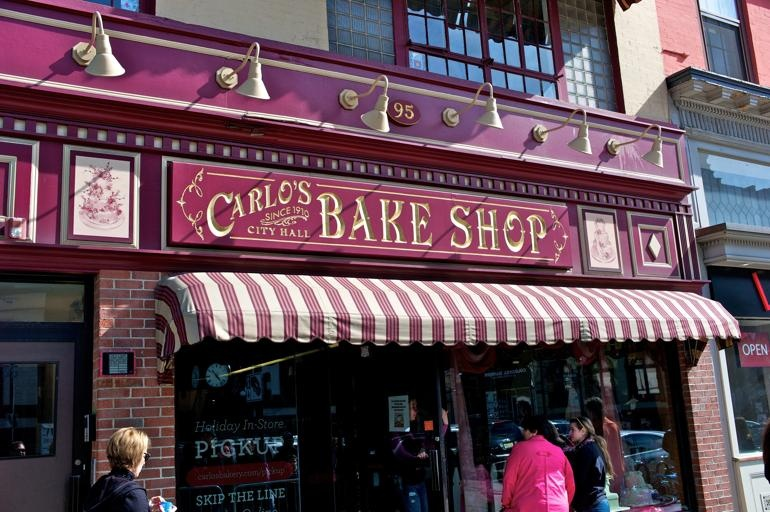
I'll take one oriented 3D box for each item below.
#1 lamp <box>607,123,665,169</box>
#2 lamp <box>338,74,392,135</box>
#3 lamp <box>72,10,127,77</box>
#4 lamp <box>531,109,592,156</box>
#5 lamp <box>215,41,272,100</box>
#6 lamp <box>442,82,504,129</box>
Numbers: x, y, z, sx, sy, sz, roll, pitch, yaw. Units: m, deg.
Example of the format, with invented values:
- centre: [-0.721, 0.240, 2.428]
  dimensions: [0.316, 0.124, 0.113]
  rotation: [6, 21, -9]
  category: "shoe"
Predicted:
- centre: [4.381, -1.974, 14.627]
  dimensions: [0.427, 0.662, 1.036]
  rotation: [-17, 26, -40]
  category: "lamp"
- centre: [-0.208, -2.382, 12.677]
  dimensions: [0.909, 0.754, 0.451]
  rotation: [29, 21, 35]
  category: "lamp"
- centre: [-3.850, -2.846, 11.401]
  dimensions: [0.563, 1.151, 0.778]
  rotation: [8, -19, -32]
  category: "lamp"
- centre: [3.022, -2.126, 14.090]
  dimensions: [0.387, 0.697, 1.069]
  rotation: [-5, 20, -42]
  category: "lamp"
- centre: [-1.978, -2.648, 11.974]
  dimensions: [0.882, 0.682, 0.448]
  rotation: [14, 16, 38]
  category: "lamp"
- centre: [1.421, -2.366, 13.305]
  dimensions: [0.948, 0.740, 0.405]
  rotation: [15, 14, 39]
  category: "lamp"
